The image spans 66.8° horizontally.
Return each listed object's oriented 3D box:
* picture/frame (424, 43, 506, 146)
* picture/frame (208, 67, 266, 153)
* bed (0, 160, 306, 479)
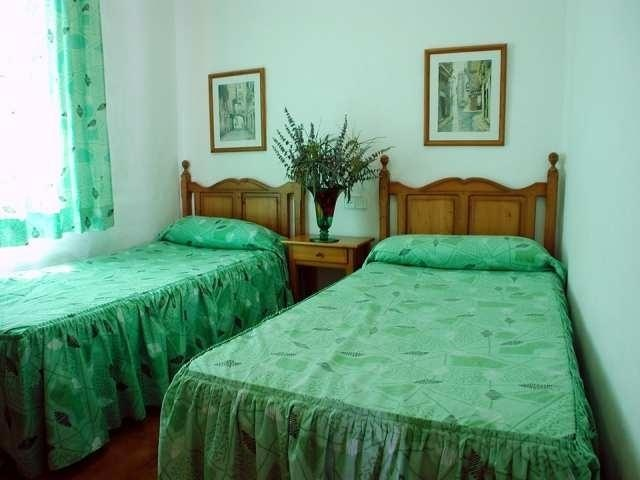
[{"bbox_3d":[1.008,-1.016,3.307,0.626,0.823,0.042,2,4,23],"label":"picture/frame"},{"bbox_3d":[-0.662,-1.087,3.964,0.614,0.807,0.050,4,10,29],"label":"picture/frame"},{"bbox_3d":[-0.911,0.276,3.198,0.979,1.294,1.891,7,18,23],"label":"bed"}]
